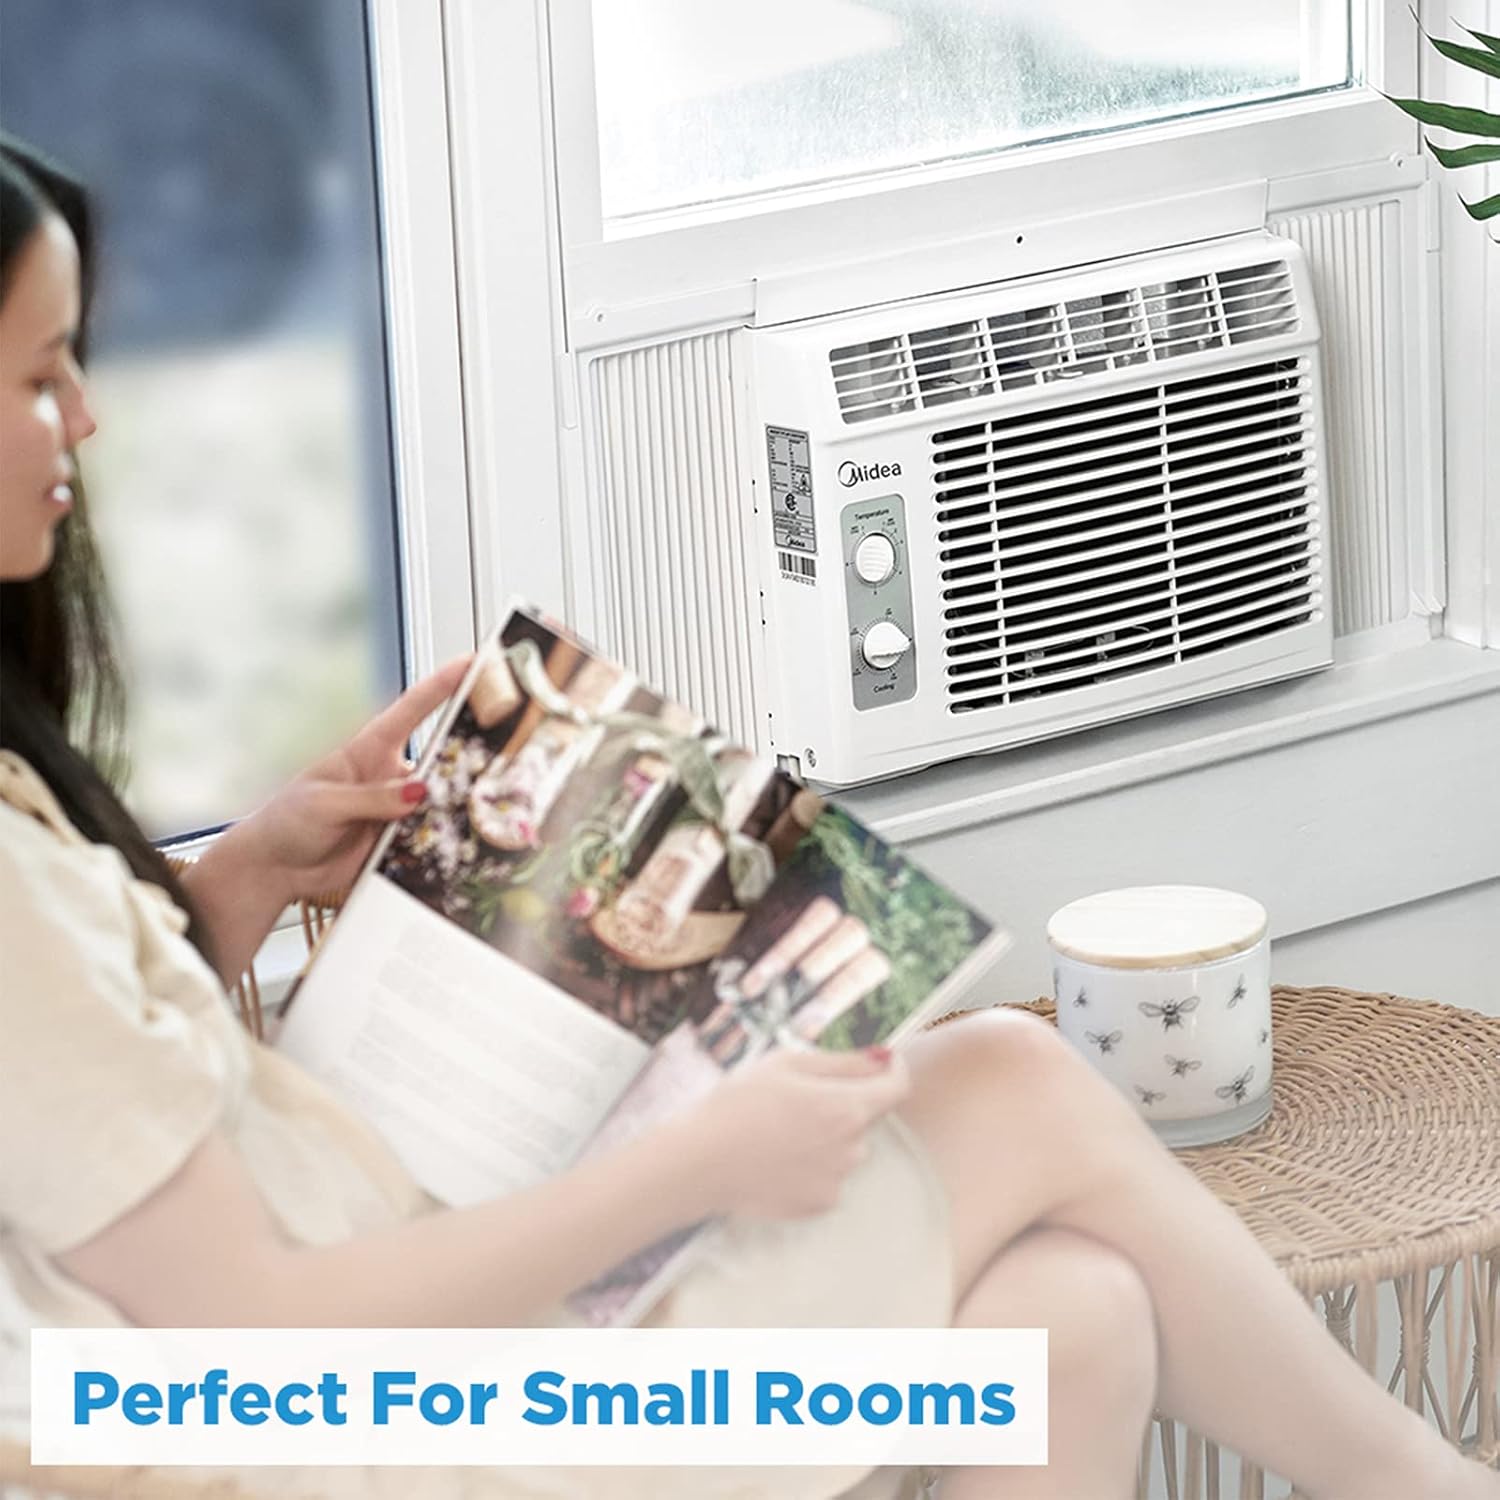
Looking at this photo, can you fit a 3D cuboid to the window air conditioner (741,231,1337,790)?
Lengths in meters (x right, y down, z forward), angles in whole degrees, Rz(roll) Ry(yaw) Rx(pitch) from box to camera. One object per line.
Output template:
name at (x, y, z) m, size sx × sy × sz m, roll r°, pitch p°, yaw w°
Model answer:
window air conditioner at (0.212, -0.197, 1.255) m, size 0.411 × 0.300 × 0.155 m, roll -14°, pitch 24°, yaw -19°
